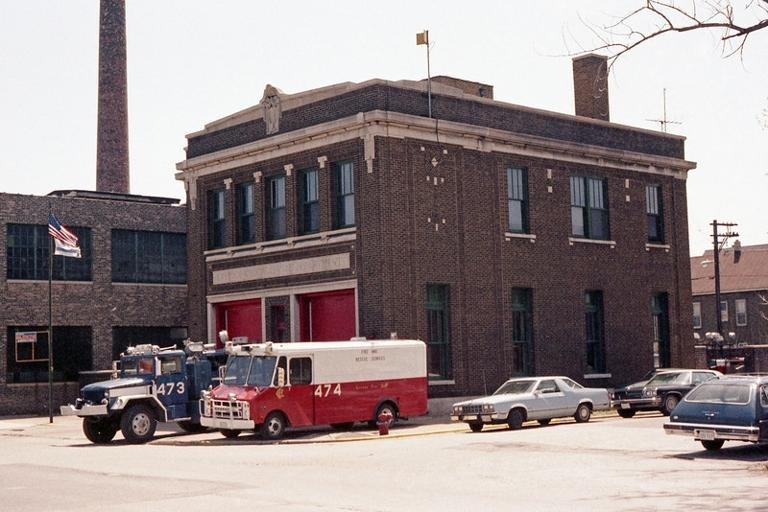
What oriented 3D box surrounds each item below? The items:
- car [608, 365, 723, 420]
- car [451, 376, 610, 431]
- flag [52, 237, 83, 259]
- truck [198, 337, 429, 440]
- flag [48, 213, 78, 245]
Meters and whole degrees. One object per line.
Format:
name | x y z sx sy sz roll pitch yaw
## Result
car | 12.201 5.601 44.720 4.573 1.385 2.235 2 -9 -37
car | 5.745 5.706 40.679 6.223 1.878 2.201 2 -4 -32
flag | -15.209 -0.377 50.835 1.011 1.013 0.169 4 -8 -33
truck | -2.730 5.142 40.271 8.826 3.510 2.776 3 -5 -33
flag | -15.239 -1.263 50.044 1.107 2.576 0.221 -13 -44 -28
